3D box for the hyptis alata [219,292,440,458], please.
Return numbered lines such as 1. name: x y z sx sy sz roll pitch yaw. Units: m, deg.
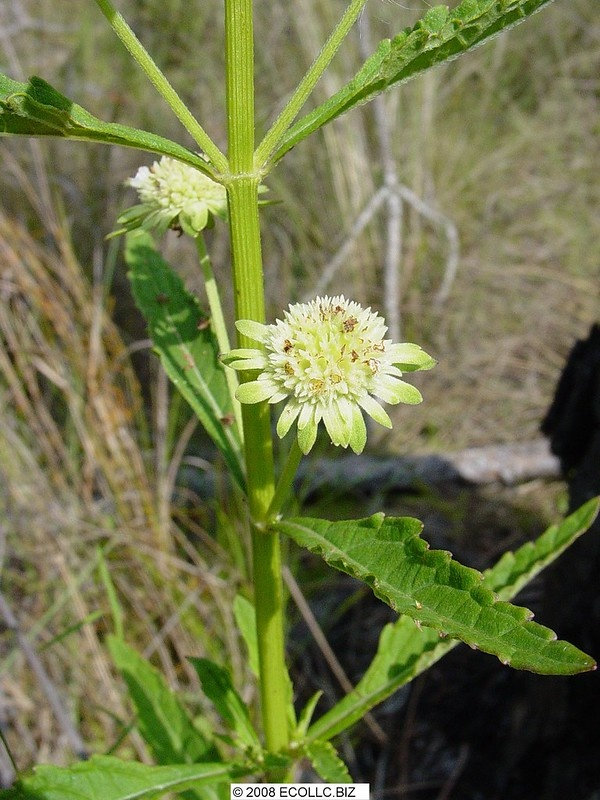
1. hyptis alata: 0.051 -0.043 1.148 0.297 0.154 0.230 -10 35 -15
